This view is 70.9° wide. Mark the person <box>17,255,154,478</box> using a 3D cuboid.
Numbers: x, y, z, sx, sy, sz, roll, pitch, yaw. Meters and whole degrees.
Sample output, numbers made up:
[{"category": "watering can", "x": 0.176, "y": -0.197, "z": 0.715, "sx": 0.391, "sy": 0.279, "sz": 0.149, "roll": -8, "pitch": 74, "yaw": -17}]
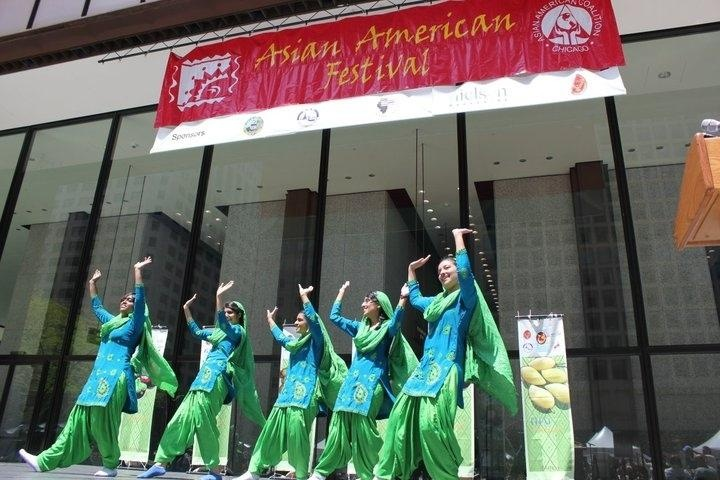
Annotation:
[{"category": "person", "x": -3.001, "y": 1.419, "z": 5.864, "sx": 0.981, "sy": 2.440, "sz": 0.809, "roll": 2, "pitch": -21, "yaw": -4}]

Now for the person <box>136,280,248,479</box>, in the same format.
[{"category": "person", "x": -2.174, "y": 1.946, "z": 6.645, "sx": 1.384, "sy": 2.601, "sz": 1.042, "roll": 24, "pitch": -49, "yaw": -28}]

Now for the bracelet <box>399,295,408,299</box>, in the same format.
[{"category": "bracelet", "x": 0.458, "y": 0.615, "z": 5.293, "sx": 0.073, "sy": 0.045, "sz": 0.075, "roll": -16, "pitch": -11, "yaw": 4}]
